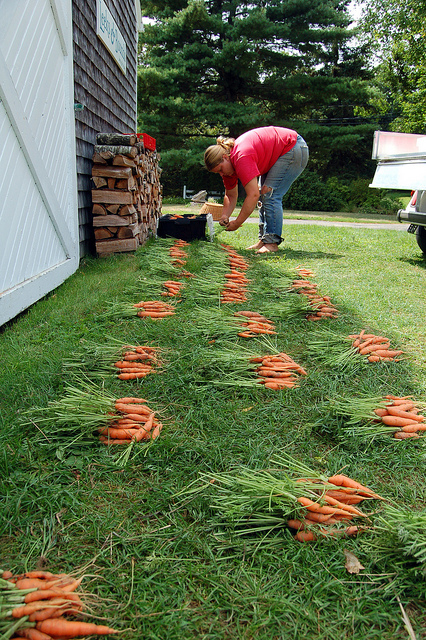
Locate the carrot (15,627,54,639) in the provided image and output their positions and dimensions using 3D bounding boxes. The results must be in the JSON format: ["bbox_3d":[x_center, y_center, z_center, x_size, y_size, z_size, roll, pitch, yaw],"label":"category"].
[{"bbox_3d":[-0.395,0.695,1.072,0.070,0.016,0.018,8,44,3],"label":"carrot"}]

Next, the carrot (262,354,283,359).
[{"bbox_3d":[0.298,0.181,2.430,0.062,0.013,0.012,-5,14,-16],"label":"carrot"}]

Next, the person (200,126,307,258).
[{"bbox_3d":[0.475,-1.449,5.416,1.193,1.348,0.843,-6,14,-9],"label":"person"}]

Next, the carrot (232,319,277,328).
[{"bbox_3d":[0.291,0.016,2.896,0.156,0.016,0.016,14,-4,12],"label":"carrot"}]

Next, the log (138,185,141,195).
[{"bbox_3d":[-0.842,-1.498,5.511,0.018,0.074,0.069,1,-14,5],"label":"log"}]

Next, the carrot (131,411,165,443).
[{"bbox_3d":[-0.265,0.402,1.803,0.029,0.021,0.136,21,26,7],"label":"carrot"}]

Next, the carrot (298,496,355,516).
[{"bbox_3d":[0.326,0.546,1.407,0.161,0.050,0.033,2,15,3],"label":"carrot"}]

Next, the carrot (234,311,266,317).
[{"bbox_3d":[0.222,-0.034,3.031,0.173,0.040,0.065,-4,15,-16],"label":"carrot"}]

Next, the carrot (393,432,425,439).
[{"bbox_3d":[0.732,0.430,1.817,0.117,0.031,0.031,-2,19,12],"label":"carrot"}]

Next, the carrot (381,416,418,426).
[{"bbox_3d":[0.715,0.391,1.878,0.140,0.048,0.044,1,13,1],"label":"carrot"}]

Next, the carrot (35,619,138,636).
[{"bbox_3d":[-0.292,0.694,1.090,0.170,0.030,0.033,3,-8,-9],"label":"carrot"}]

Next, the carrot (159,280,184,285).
[{"bbox_3d":[-0.341,-0.297,3.763,0.171,0.020,0.148,12,18,35],"label":"carrot"}]

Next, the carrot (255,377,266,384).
[{"bbox_3d":[0.221,0.277,2.235,0.030,0.018,0.023,4,4,24],"label":"carrot"}]

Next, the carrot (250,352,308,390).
[{"bbox_3d":[0.311,0.236,2.306,0.201,0.032,0.152,-9,15,-38],"label":"carrot"}]

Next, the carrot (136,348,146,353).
[{"bbox_3d":[-0.362,0.148,2.405,0.041,0.026,0.041,-6,16,-24],"label":"carrot"}]

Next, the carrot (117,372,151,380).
[{"bbox_3d":[-0.365,0.257,2.259,0.163,0.039,0.043,-5,-17,-7],"label":"carrot"}]

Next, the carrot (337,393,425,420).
[{"bbox_3d":[0.672,0.362,1.965,0.365,0.043,0.092,9,13,23],"label":"carrot"}]

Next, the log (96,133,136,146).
[{"bbox_3d":[-0.998,-1.830,4.861,0.261,0.081,0.264,4,20,4],"label":"log"}]

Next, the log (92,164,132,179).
[{"bbox_3d":[-0.947,-1.406,4.544,0.261,0.080,0.160,0,26,-14],"label":"log"}]

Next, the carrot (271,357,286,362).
[{"bbox_3d":[0.323,0.194,2.407,0.069,0.023,0.023,6,32,2],"label":"carrot"}]

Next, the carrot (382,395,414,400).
[{"bbox_3d":[0.781,0.327,2.055,0.097,0.014,0.017,2,35,0],"label":"carrot"}]

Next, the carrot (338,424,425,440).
[{"bbox_3d":[0.647,0.426,1.836,0.252,0.031,0.049,-2,-2,-3],"label":"carrot"}]

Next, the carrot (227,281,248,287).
[{"bbox_3d":[0.182,-0.291,3.818,0.126,0.021,0.022,18,38,3],"label":"carrot"}]

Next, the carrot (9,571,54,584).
[{"bbox_3d":[-0.442,0.626,1.174,0.072,0.016,0.020,2,27,-4],"label":"carrot"}]

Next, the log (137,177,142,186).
[{"bbox_3d":[-0.836,-1.566,5.435,0.017,0.068,0.064,6,1,7],"label":"log"}]

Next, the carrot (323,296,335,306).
[{"bbox_3d":[0.822,-0.140,3.411,0.017,0.015,0.064,-37,65,-12],"label":"carrot"}]

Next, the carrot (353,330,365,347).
[{"bbox_3d":[0.813,0.103,2.710,0.021,0.023,0.108,36,53,10],"label":"carrot"}]

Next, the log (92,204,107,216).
[{"bbox_3d":[-1.088,-1.057,4.596,0.098,0.092,0.027,3,23,8],"label":"log"}]

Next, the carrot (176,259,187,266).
[{"bbox_3d":[-0.307,-0.547,4.509,0.031,0.032,0.212,-5,22,-31],"label":"carrot"}]

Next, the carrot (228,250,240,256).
[{"bbox_3d":[0.211,-0.724,5.121,0.038,0.040,0.148,-31,38,-21],"label":"carrot"}]

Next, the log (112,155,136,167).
[{"bbox_3d":[-0.865,-1.529,4.610,0.154,0.067,0.221,7,10,5],"label":"log"}]

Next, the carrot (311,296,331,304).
[{"bbox_3d":[0.746,-0.144,3.386,0.034,0.036,0.209,-8,8,38],"label":"carrot"}]

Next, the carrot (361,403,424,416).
[{"bbox_3d":[0.710,0.359,1.940,0.157,0.024,0.027,-7,55,-12],"label":"carrot"}]

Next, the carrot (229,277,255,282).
[{"bbox_3d":[0.233,-0.336,3.965,0.174,0.025,0.025,6,-12,-30],"label":"carrot"}]

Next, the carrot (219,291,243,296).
[{"bbox_3d":[0.120,-0.197,3.553,0.143,0.025,0.025,6,28,14],"label":"carrot"}]

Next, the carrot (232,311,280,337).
[{"bbox_3d":[0.242,0.029,2.884,0.209,0.055,0.158,20,31,23],"label":"carrot"}]

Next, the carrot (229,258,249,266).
[{"bbox_3d":[0.230,-0.558,4.604,0.186,0.039,0.045,24,53,10],"label":"carrot"}]

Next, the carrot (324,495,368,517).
[{"bbox_3d":[0.388,0.553,1.437,0.107,0.019,0.019,20,40,12],"label":"carrot"}]

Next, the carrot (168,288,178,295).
[{"bbox_3d":[-0.302,-0.225,3.596,0.032,0.028,0.101,-21,41,-28],"label":"carrot"}]

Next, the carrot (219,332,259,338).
[{"bbox_3d":[0.154,0.083,2.765,0.190,0.030,0.039,-1,15,-7],"label":"carrot"}]

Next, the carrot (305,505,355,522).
[{"bbox_3d":[0.345,0.560,1.395,0.117,0.027,0.028,-1,52,-6],"label":"carrot"}]

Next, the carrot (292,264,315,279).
[{"bbox_3d":[0.786,-0.461,4.338,0.144,0.041,0.144,2,15,-46],"label":"carrot"}]

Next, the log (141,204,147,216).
[{"bbox_3d":[-0.832,-1.331,5.827,0.026,0.105,0.101,4,-23,9],"label":"log"}]

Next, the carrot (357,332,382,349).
[{"bbox_3d":[0.851,0.110,2.606,0.118,0.029,0.023,-28,60,-18],"label":"carrot"}]

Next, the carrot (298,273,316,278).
[{"bbox_3d":[0.817,-0.390,4.227,0.153,0.033,0.121,4,15,10],"label":"carrot"}]

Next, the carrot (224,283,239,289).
[{"bbox_3d":[0.137,-0.265,3.683,0.113,0.037,0.037,12,29,0],"label":"carrot"}]

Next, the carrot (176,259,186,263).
[{"bbox_3d":[-0.311,-0.567,4.585,0.018,0.023,0.114,-38,45,-19],"label":"carrot"}]

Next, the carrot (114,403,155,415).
[{"bbox_3d":[-0.306,0.351,1.909,0.167,0.039,0.047,15,-24,-5],"label":"carrot"}]

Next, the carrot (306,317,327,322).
[{"bbox_3d":[0.680,-0.011,3.145,0.135,0.017,0.042,-3,15,-16],"label":"carrot"}]

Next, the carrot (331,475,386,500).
[{"bbox_3d":[0.454,0.526,1.517,0.167,0.057,0.081,6,16,19],"label":"carrot"}]

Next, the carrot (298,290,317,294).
[{"bbox_3d":[0.710,-0.216,3.666,0.132,0.025,0.100,3,15,8],"label":"carrot"}]

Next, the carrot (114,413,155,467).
[{"bbox_3d":[-0.271,0.411,1.712,0.036,0.033,0.318,-3,22,15],"label":"carrot"}]

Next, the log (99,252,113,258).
[{"bbox_3d":[-1.066,-0.638,4.749,0.102,0.057,0.101,0,4,-6],"label":"log"}]

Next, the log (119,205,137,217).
[{"bbox_3d":[-0.813,-1.066,4.685,0.113,0.113,0.197,8,16,26],"label":"log"}]

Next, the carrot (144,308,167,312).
[{"bbox_3d":[-0.378,-0.073,3.156,0.152,0.030,0.041,2,18,-2],"label":"carrot"}]

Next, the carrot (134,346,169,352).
[{"bbox_3d":[-0.332,0.138,2.461,0.136,0.028,0.027,7,-26,-12],"label":"carrot"}]
